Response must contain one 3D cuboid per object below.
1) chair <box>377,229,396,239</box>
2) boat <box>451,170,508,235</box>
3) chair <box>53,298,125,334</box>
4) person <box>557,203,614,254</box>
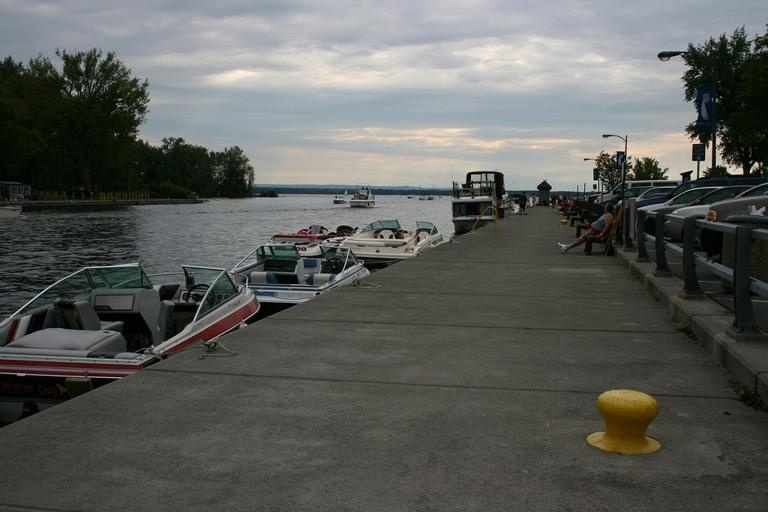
[{"bbox_3d":[0.081,-0.901,26.500,0.646,0.492,0.533,5,21,11],"label":"chair"},{"bbox_3d":[7.626,-4.306,49.652,3.911,5.294,21.150,1,10,10],"label":"boat"},{"bbox_3d":[-4.383,0.975,9.146,0.621,0.505,0.810,-3,-2,20],"label":"chair"},{"bbox_3d":[6.589,-0.842,19.625,2.172,1.094,1.030,-23,-1,37],"label":"person"}]
